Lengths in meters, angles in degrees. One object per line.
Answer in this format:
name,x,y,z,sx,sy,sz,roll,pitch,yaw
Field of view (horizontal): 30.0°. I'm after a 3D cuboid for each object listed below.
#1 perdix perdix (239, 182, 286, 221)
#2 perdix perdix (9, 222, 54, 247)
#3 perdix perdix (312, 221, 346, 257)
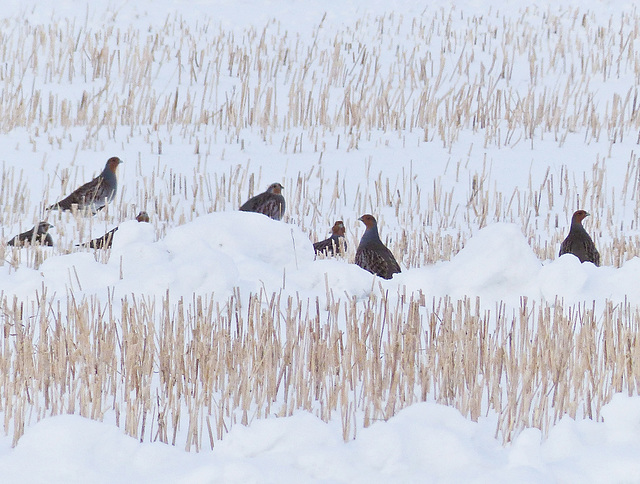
perdix perdix,-0.887,-0.631,18.496,0.656,0.618,0.488,-4,19,-18
perdix perdix,-4.188,-0.106,17.300,0.598,0.428,0.357,1,14,-18
perdix perdix,0.165,-0.043,17.704,0.489,0.618,0.390,-8,10,-9
